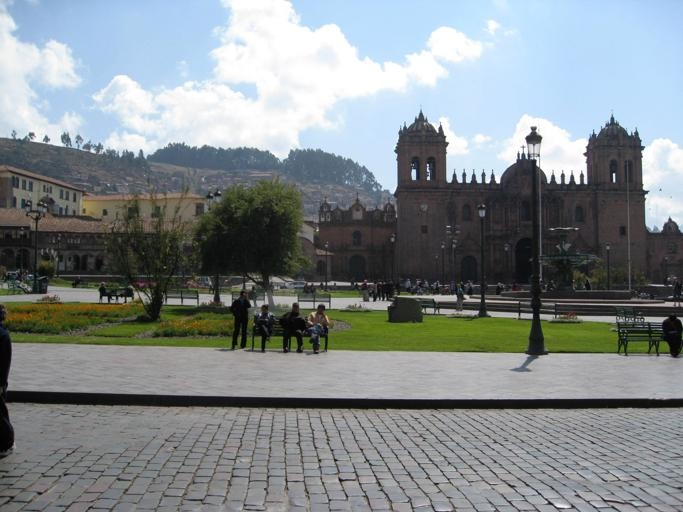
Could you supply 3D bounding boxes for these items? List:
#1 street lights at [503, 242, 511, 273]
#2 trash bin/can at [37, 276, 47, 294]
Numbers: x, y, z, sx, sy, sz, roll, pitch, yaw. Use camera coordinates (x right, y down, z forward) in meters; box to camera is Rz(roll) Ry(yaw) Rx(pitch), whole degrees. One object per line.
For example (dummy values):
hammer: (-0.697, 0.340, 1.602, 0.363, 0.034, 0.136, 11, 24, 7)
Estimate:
street lights: (15.346, 0.097, 83.578, 0.526, 2.710, 0.458, 1, -3, 4)
trash bin/can: (-16.390, 1.621, 49.628, 0.744, 0.966, 0.711, -2, -4, 15)
